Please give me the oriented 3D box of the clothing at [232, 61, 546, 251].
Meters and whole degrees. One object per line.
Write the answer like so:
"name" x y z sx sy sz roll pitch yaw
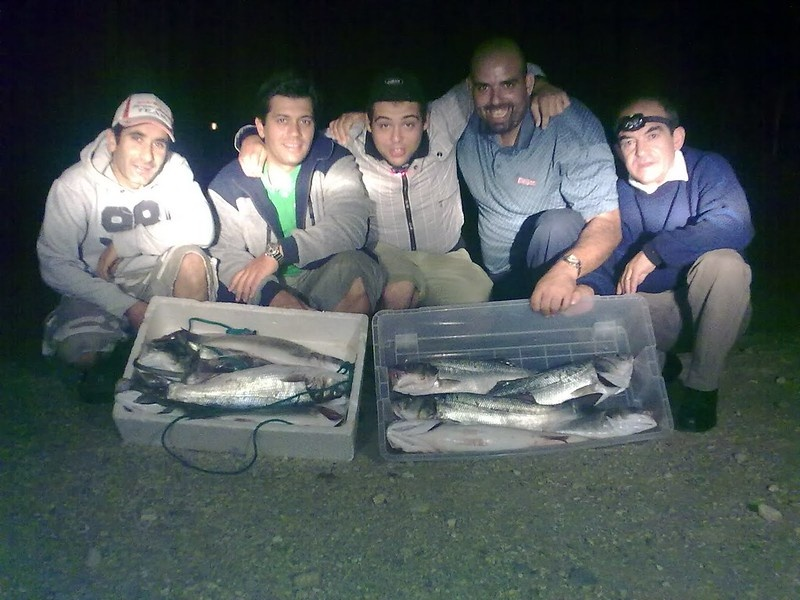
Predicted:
"clothing" -0.026 -0.894 4.160 1.323 0.728 0.340 -14 29 2

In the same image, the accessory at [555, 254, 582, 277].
"accessory" 1.060 -0.224 3.821 0.097 0.050 0.131 8 61 -18

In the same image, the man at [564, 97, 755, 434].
"man" 1.614 -0.221 4.091 1.107 2.097 1.032 -5 -11 26

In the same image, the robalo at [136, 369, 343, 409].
"robalo" -0.837 0.486 3.458 1.114 0.182 0.202 -6 24 -6

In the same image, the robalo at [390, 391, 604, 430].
"robalo" 0.536 0.617 3.517 1.151 0.239 0.207 5 7 -5

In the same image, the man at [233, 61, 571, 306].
"man" 0.073 -0.773 4.359 1.777 1.262 1.466 -23 15 17

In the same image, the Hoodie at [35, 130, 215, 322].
"Hoodie" -1.710 -0.447 4.012 0.919 1.101 0.648 -13 37 -22

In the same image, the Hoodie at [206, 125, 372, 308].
"Hoodie" -0.721 -0.501 4.061 0.791 1.059 0.652 -9 27 -6

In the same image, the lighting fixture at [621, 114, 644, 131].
"lighting fixture" 1.441 -1.086 3.848 0.081 0.120 0.028 0 -23 35

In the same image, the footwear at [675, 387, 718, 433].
"footwear" 1.712 0.618 3.570 0.263 0.158 0.250 3 25 13

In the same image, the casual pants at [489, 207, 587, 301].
"casual pants" 0.919 -0.320 4.218 0.212 0.551 0.574 26 44 -12

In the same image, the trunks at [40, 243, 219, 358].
"trunks" -1.822 0.108 4.019 0.691 0.943 0.302 3 -15 9

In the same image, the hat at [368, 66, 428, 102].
"hat" -0.017 -1.369 4.036 0.361 0.216 0.103 -4 23 -2

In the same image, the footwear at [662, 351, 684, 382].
"footwear" 1.656 0.406 3.782 0.107 0.044 0.192 7 50 13

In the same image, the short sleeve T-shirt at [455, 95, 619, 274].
"short sleeve T-shirt" 0.931 -0.783 4.122 0.952 0.978 0.526 9 47 28

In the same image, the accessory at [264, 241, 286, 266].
"accessory" -0.784 -0.300 4.010 0.137 0.140 0.093 34 73 4
